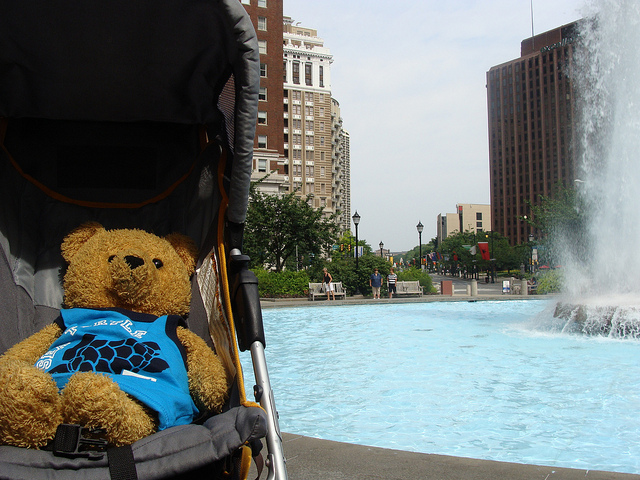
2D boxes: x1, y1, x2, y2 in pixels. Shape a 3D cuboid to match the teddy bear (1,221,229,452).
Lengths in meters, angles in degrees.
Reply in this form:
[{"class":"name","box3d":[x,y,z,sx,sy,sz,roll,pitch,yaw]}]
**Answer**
[{"class":"teddy bear","box3d":[-1.666,0.710,5.706,1.698,1.705,1.189,-1,-5,-32]}]
